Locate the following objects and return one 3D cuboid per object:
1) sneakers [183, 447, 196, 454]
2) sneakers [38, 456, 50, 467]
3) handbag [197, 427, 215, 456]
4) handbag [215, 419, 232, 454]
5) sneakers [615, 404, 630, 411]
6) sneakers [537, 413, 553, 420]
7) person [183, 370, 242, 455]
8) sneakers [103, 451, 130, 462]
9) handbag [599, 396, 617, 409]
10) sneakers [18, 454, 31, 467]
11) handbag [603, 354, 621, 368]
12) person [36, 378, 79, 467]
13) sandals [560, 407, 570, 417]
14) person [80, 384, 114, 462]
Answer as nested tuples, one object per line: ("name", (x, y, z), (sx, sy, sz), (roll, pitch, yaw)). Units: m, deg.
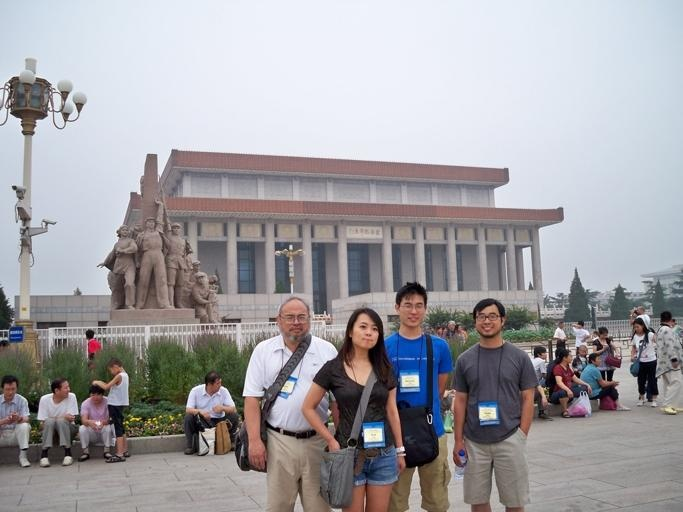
("sneakers", (-2.522, 3.261, 9.853), (0.249, 0.087, 0.096), (-5, -8, 20))
("sneakers", (-4.558, 3.185, 9.106), (0.089, 0.106, 0.232), (4, -16, -27))
("handbag", (-2.209, 3.073, 9.729), (0.295, 0.392, 0.208), (-7, -28, 3))
("handbag", (-1.952, 3.011, 9.776), (0.193, 0.474, 0.454), (1, -10, -5))
("sneakers", (5.899, 3.169, 12.340), (0.306, 0.138, 0.118), (6, -4, -12))
("sneakers", (4.048, 3.217, 11.799), (0.105, 0.090, 0.212), (3, -11, -29))
("person", (-2.363, 2.743, 10.283), (1.103, 1.692, 1.158), (4, -23, -22))
("sneakers", (-3.589, 3.223, 9.443), (0.338, 0.138, 0.132), (6, -17, -9))
("handbag", (5.592, 3.092, 12.409), (0.276, 0.307, 0.253), (-2, -2, 19))
("sneakers", (-4.932, 3.187, 9.179), (0.107, 0.209, 0.292), (7, -29, -28))
("handbag", (6.539, 2.501, 14.062), (0.598, 0.298, 0.303), (5, -10, -42))
("person", (-4.499, 2.621, 9.379), (0.559, 1.325, 0.579), (1, -7, -20))
("sandals", (4.524, 3.155, 11.928), (0.151, 0.180, 0.440), (-1, -10, 1))
("person", (-3.947, 2.689, 9.545), (0.544, 1.187, 0.394), (0, -7, -15))
